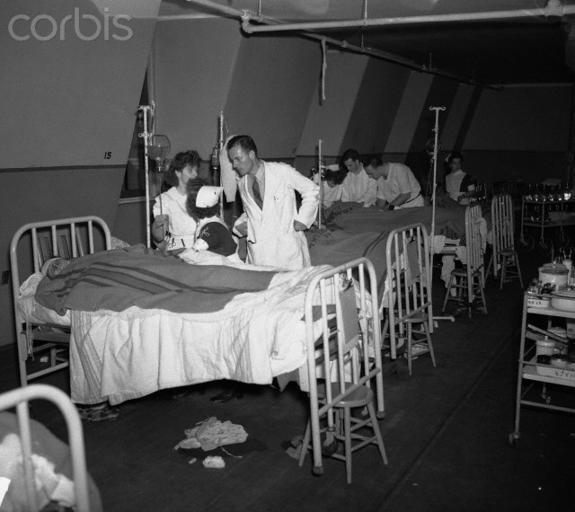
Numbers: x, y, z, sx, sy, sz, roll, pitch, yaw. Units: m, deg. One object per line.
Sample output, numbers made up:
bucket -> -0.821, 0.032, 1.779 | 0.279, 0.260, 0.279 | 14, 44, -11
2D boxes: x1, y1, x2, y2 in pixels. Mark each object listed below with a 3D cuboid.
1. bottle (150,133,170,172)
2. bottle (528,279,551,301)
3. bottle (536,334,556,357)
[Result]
bottle -> -0.974, -0.794, 4.138 | 0.150, 0.274, 0.071 | 1, -2, -13
bottle -> 1.371, 0.186, 2.969 | 0.086, 0.050, 0.132 | 1, 11, 17
bottle -> 1.451, 0.506, 3.075 | 0.093, 0.108, 0.079 | 0, 5, 18
